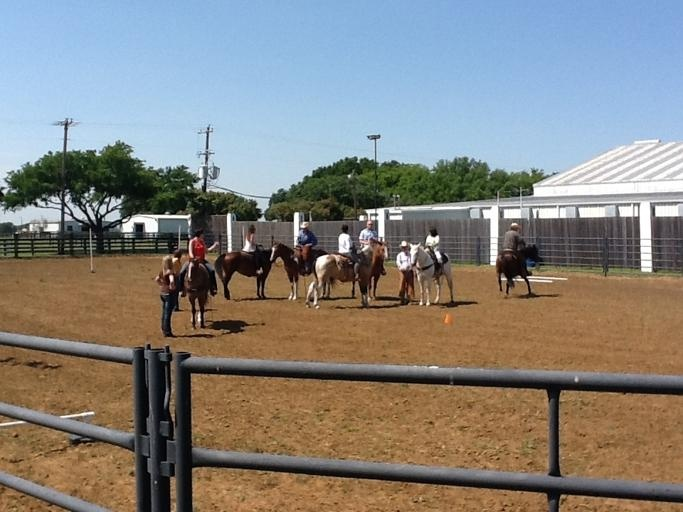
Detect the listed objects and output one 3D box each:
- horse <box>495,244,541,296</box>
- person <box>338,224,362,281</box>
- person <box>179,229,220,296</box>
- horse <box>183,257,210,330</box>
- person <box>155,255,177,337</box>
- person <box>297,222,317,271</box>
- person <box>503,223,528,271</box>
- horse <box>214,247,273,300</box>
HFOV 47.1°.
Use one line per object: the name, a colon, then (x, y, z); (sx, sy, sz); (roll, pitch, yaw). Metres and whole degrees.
horse: (5.285, 0.416, 23.663); (0.522, 1.565, 2.118); (16, 15, 39)
person: (0.205, -0.076, 20.862); (0.527, 1.471, 0.690); (0, 0, 1)
person: (-3.286, 0.330, 17.614); (0.520, 1.446, 1.897); (-2, 11, -4)
horse: (-3.269, 0.848, 17.735); (0.561, 1.513, 1.880); (0, 1, -10)
person: (-3.637, 0.857, 16.272); (0.375, 1.675, 0.899); (0, 0, -14)
person: (-1.035, -0.225, 23.249); (0.549, 1.476, 0.720); (-4, 7, -1)
person: (5.208, -0.078, 23.583); (0.875, 1.737, 0.658); (2, -2, -41)
horse: (-2.902, 0.532, 22.960); (1.626, 1.474, 1.045); (0, 1, -17)
